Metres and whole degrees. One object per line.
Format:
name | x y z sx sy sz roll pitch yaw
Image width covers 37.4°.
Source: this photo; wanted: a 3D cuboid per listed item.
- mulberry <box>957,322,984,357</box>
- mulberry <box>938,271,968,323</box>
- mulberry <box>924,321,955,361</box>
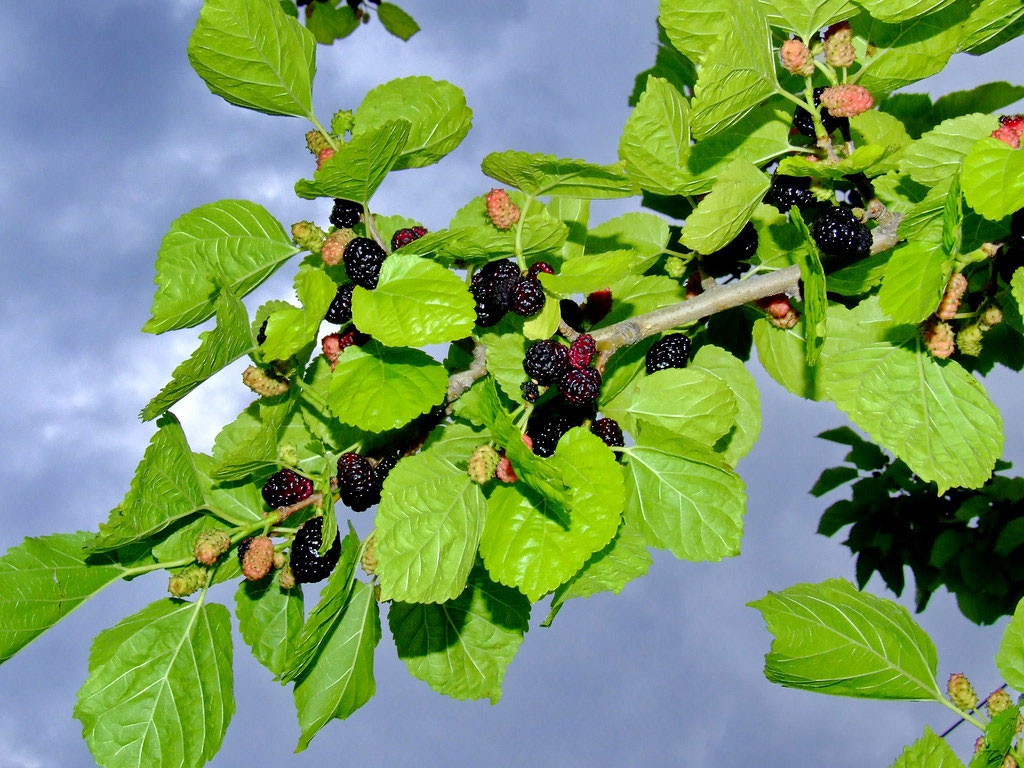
mulberry | 1.896 -0.160 6.233 0.105 0.064 0.120 -11 55 37
mulberry | 1.740 -0.334 5.995 0.069 0.180 0.109 10 34 -4
mulberry | 1.721 -0.169 6.079 0.123 0.141 0.055 -31 -14 19
